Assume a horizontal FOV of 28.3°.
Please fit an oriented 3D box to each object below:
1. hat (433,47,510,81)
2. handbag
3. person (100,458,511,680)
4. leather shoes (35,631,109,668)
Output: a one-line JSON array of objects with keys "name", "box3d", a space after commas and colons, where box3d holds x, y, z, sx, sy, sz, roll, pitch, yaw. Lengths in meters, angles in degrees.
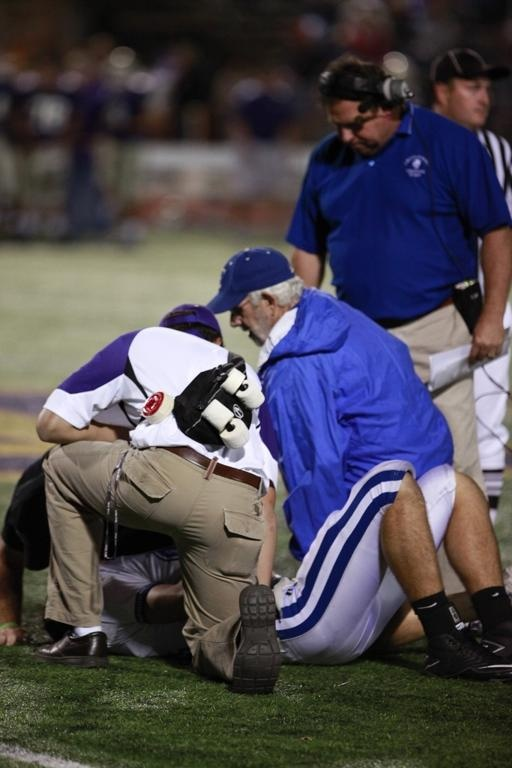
[{"name": "hat", "box3d": [0.883, -1.302, 4.109, 0.263, 0.104, 0.157, 2, 14, 27]}, {"name": "handbag", "box3d": [-0.121, 0.036, 2.439, 0.253, 0.098, 0.162, 4, 51, 21]}, {"name": "person", "box3d": [0.071, 0.570, 2.718, 1.006, 0.337, 0.536, -20, -28, 25]}, {"name": "leather shoes", "box3d": [-0.462, 0.671, 2.578, 0.184, 0.069, 0.073, 0, -6, 33]}]
